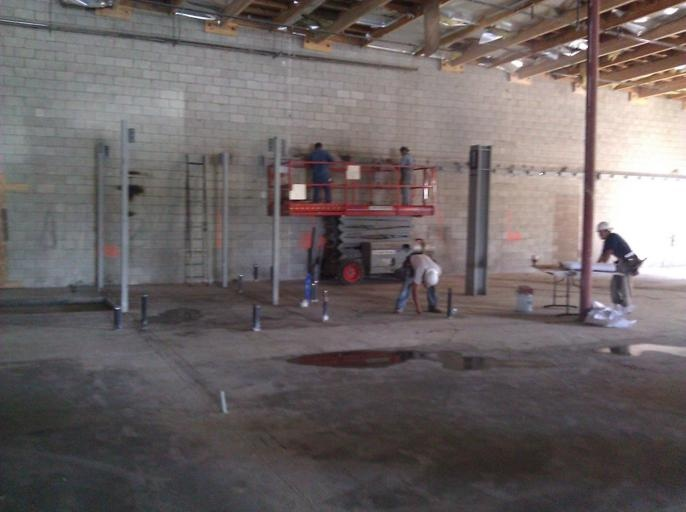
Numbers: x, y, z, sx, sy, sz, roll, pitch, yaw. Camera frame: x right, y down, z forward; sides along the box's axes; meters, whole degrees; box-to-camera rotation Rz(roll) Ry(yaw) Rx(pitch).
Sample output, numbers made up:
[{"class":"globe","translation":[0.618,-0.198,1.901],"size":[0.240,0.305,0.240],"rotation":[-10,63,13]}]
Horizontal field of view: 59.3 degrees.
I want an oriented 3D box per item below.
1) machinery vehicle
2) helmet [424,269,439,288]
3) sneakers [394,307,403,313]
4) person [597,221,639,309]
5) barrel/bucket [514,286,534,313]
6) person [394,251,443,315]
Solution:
[{"class":"machinery vehicle","translation":[0.090,-1.071,18.620],"size":[6.501,3.362,2.574],"rotation":[0,9,-37]},{"class":"helmet","translation":[1.778,0.428,12.124],"size":[0.284,0.364,0.250],"rotation":[2,15,5]},{"class":"sneakers","translation":[1.196,1.141,12.821],"size":[0.145,0.112,0.339],"rotation":[-1,-6,5]},{"class":"person","translation":[5.775,0.245,12.613],"size":[0.855,1.626,0.880],"rotation":[6,16,19]},{"class":"barrel/bucket","translation":[4.065,0.982,13.409],"size":[0.385,0.563,0.706],"rotation":[4,14,15]},{"class":"person","translation":[1.592,0.576,12.691],"size":[0.954,1.383,1.219],"rotation":[2,14,8]}]
